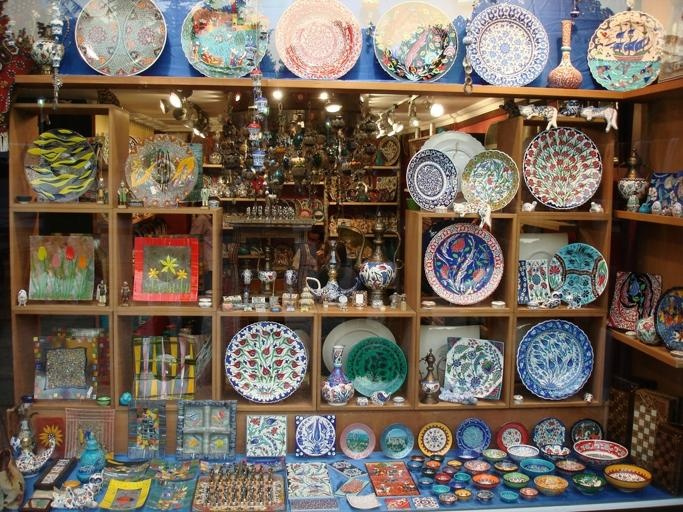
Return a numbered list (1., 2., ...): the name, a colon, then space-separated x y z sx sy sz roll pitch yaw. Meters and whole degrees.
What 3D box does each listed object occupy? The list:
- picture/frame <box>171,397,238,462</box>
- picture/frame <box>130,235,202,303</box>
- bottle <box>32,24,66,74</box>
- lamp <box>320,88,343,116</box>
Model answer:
1. picture/frame: -0.741 0.958 3.788 0.285 0.034 0.308 0 -97 -6
2. picture/frame: -0.974 0.073 3.873 0.334 0.016 0.374 0 -86 1
3. bottle: -1.552 -1.099 3.672 0.159 0.090 0.250 10 -76 -5
4. lamp: -0.080 -0.859 3.892 0.101 0.102 0.163 -12 -99 38
